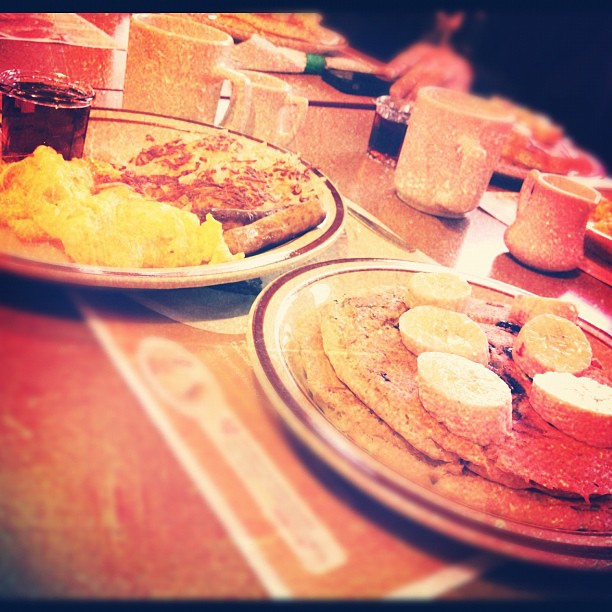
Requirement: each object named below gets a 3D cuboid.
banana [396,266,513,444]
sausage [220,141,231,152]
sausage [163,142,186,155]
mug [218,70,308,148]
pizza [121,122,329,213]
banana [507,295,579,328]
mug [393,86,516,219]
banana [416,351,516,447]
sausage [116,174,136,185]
[{"bbox_3d":[0.114,0.028,0.537,0.083,0.042,0.193,3,33,-1],"label":"banana"},{"bbox_3d":[-0.103,-0.203,0.829,0.016,0.002,0.014,-4,51,-12],"label":"sausage"},{"bbox_3d":[-0.161,-0.192,0.790,0.022,0.006,0.020,-8,39,-18],"label":"sausage"},{"bbox_3d":[-0.098,-0.317,1.002,0.073,0.090,0.110,24,0,-27],"label":"mug"},{"bbox_3d":[-0.090,-0.151,0.752,0.169,0.026,0.170,24,32,19],"label":"pizza"},{"bbox_3d":[0.212,0.002,0.595,0.041,0.013,0.039,10,1,-33],"label":"banana"},{"bbox_3d":[0.220,-0.217,0.968,0.168,0.168,0.228,15,35,10],"label":"mug"},{"bbox_3d":[0.114,0.064,0.499,0.061,0.021,0.075,-18,45,-28],"label":"banana"},{"bbox_3d":[-0.187,-0.133,0.681,0.015,0.004,0.015,33,16,18],"label":"sausage"}]
